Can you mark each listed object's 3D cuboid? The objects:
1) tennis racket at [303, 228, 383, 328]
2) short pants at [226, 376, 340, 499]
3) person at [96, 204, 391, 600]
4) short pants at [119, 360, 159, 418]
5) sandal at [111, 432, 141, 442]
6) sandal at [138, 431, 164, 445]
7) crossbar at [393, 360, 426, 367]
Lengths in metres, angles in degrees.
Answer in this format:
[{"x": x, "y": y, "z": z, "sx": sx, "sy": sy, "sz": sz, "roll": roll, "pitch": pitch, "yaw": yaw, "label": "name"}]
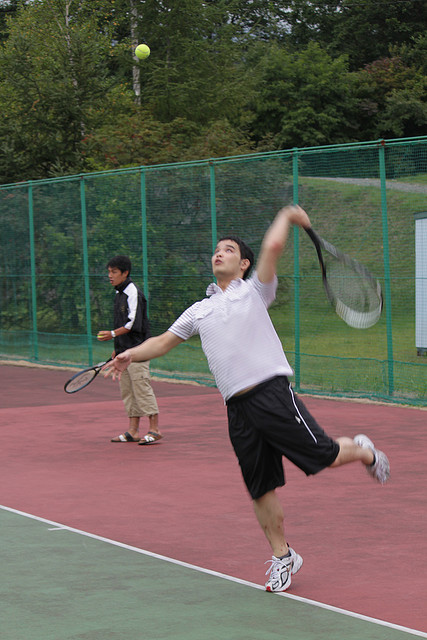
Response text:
[{"x": 0.761, "y": -0.172, "z": 3.470, "sx": 0.312, "sy": 0.441, "sz": 1.149, "roll": -2, "pitch": -4, "yaw": 15, "label": "tennis racket"}, {"x": 0.293, "y": 0.531, "z": 2.853, "sx": 0.531, "sy": 0.486, "sz": 0.238, "roll": -30, "pitch": -12, "yaw": 25, "label": "short pants"}, {"x": 0.238, "y": 0.394, "z": 3.059, "sx": 0.740, "sy": 1.746, "sz": 0.869, "roll": 3, "pitch": -5, "yaw": -43, "label": "person"}, {"x": -0.840, "y": 0.794, "z": 6.980, "sx": 0.398, "sy": 0.634, "sz": 0.468, "roll": 0, "pitch": -4, "yaw": -12, "label": "short pants"}, {"x": -1.003, "y": 1.360, "z": 7.198, "sx": 0.339, "sy": 0.107, "sz": 0.108, "roll": 7, "pitch": -11, "yaw": -25, "label": "sandal"}, {"x": -0.699, "y": 1.344, "z": 7.076, "sx": 0.324, "sy": 0.122, "sz": 0.107, "roll": -6, "pitch": -7, "yaw": -32, "label": "sandal"}, {"x": 3.069, "y": 0.695, "z": 9.816, "sx": 0.571, "sy": 0.074, "sz": 0.072, "roll": 10, "pitch": 21, "yaw": -38, "label": "crossbar"}]
